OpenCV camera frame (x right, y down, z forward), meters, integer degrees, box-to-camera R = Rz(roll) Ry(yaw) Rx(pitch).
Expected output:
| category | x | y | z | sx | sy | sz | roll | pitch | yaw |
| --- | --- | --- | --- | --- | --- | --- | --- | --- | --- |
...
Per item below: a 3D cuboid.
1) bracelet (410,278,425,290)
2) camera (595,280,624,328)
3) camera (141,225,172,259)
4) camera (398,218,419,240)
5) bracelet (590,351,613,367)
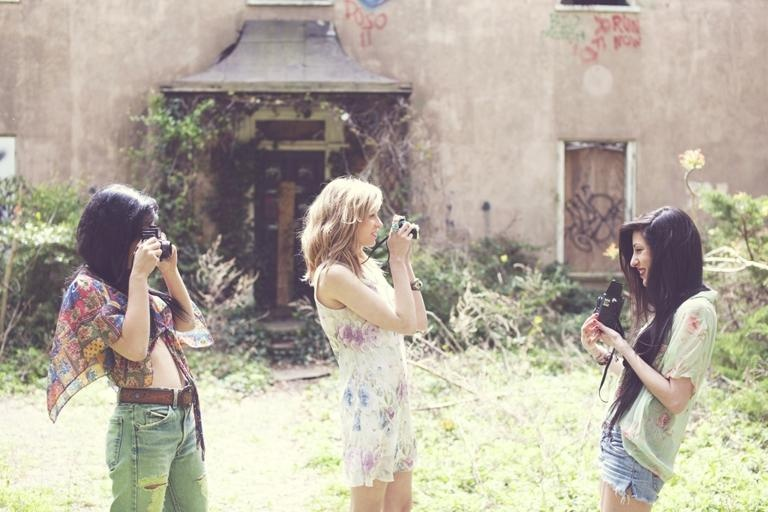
| category | x | y | z | sx | sy | sz | roll | pitch | yaw |
| --- | --- | --- | --- | --- | --- | --- | --- | --- | --- |
| bracelet | 0.302 | 0.266 | 9.609 | 0.123 | 0.085 | 0.109 | -10 | -33 | 3 |
| camera | 2.082 | 0.469 | 9.430 | 0.143 | 0.454 | 0.246 | 10 | -4 | 18 |
| camera | -2.126 | -0.104 | 9.293 | 0.297 | 0.320 | 0.284 | 2 | -9 | 17 |
| camera | 0.218 | -0.252 | 9.505 | 0.107 | 0.203 | 0.169 | -20 | 26 | -41 |
| bracelet | 2.056 | 0.965 | 9.535 | 0.098 | 0.060 | 0.146 | 0 | 44 | 22 |
